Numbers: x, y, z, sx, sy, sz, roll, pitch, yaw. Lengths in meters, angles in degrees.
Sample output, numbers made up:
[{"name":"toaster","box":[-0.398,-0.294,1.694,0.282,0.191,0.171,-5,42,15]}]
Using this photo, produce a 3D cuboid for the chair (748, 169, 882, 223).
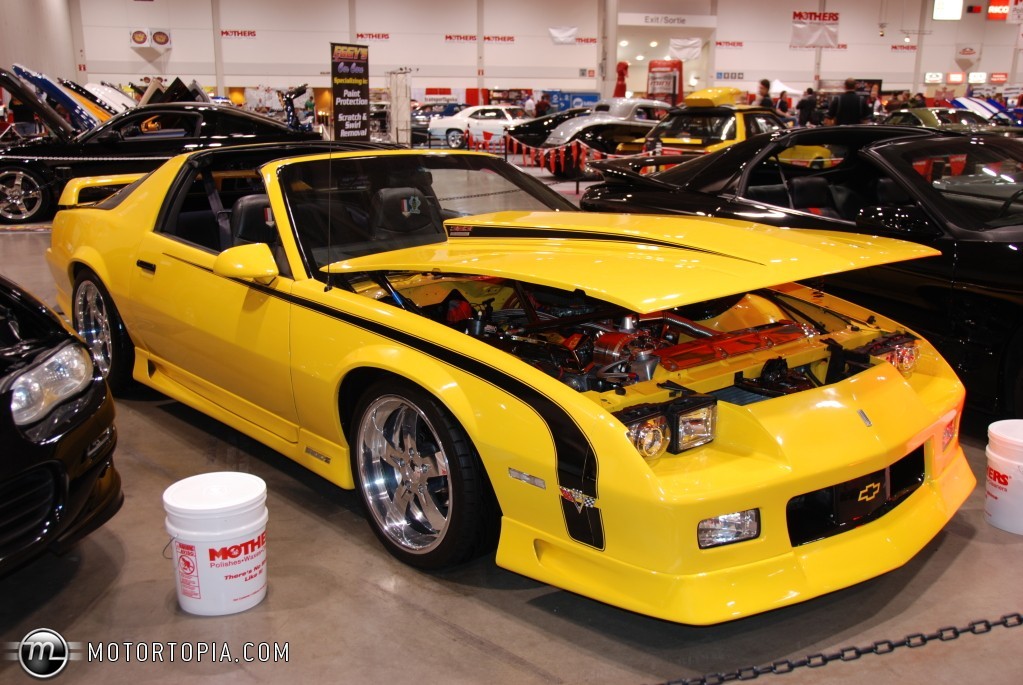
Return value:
[{"name":"chair","box":[2.506,-1.242,5.635,1.103,0.350,0.578,-3,17,-4]}]

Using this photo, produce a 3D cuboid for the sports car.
[{"name":"sports car","box":[-0.676,-0.202,3.891,5.209,1.267,2.481,15,24,34]}]

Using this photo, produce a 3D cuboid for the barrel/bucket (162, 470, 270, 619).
[{"name":"barrel/bucket","box":[-1.235,0.852,2.904,0.406,0.551,0.298,-6,22,-15]}]
